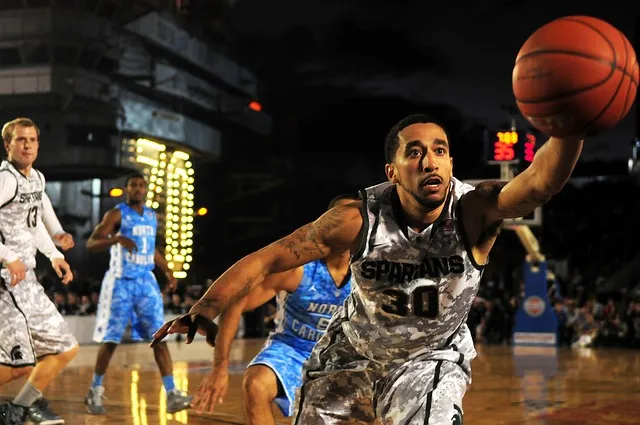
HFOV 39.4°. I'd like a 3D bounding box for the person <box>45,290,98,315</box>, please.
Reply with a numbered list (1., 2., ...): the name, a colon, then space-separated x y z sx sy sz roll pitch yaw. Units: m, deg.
1. person: -6.287 2.331 22.659 1.208 0.357 1.196 2 -3 -34
